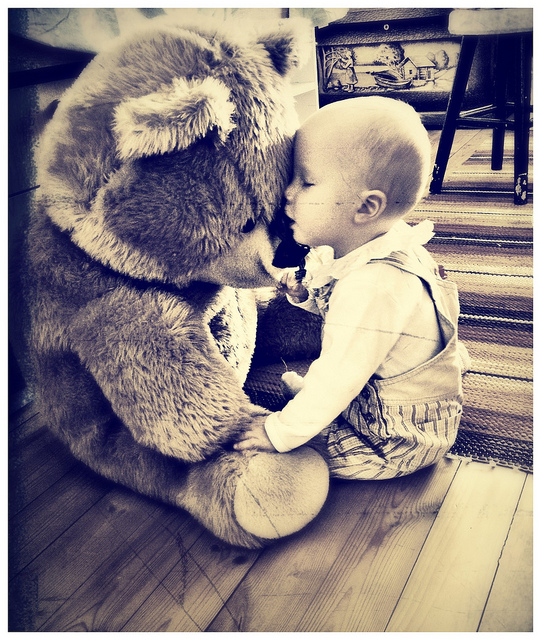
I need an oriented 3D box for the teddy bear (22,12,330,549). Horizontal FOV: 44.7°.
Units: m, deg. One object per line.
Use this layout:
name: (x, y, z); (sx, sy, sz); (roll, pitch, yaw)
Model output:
teddy bear: (-0.148, -0.068, 0.960); (0.452, 0.710, 0.362); (-2, 22, 4)
